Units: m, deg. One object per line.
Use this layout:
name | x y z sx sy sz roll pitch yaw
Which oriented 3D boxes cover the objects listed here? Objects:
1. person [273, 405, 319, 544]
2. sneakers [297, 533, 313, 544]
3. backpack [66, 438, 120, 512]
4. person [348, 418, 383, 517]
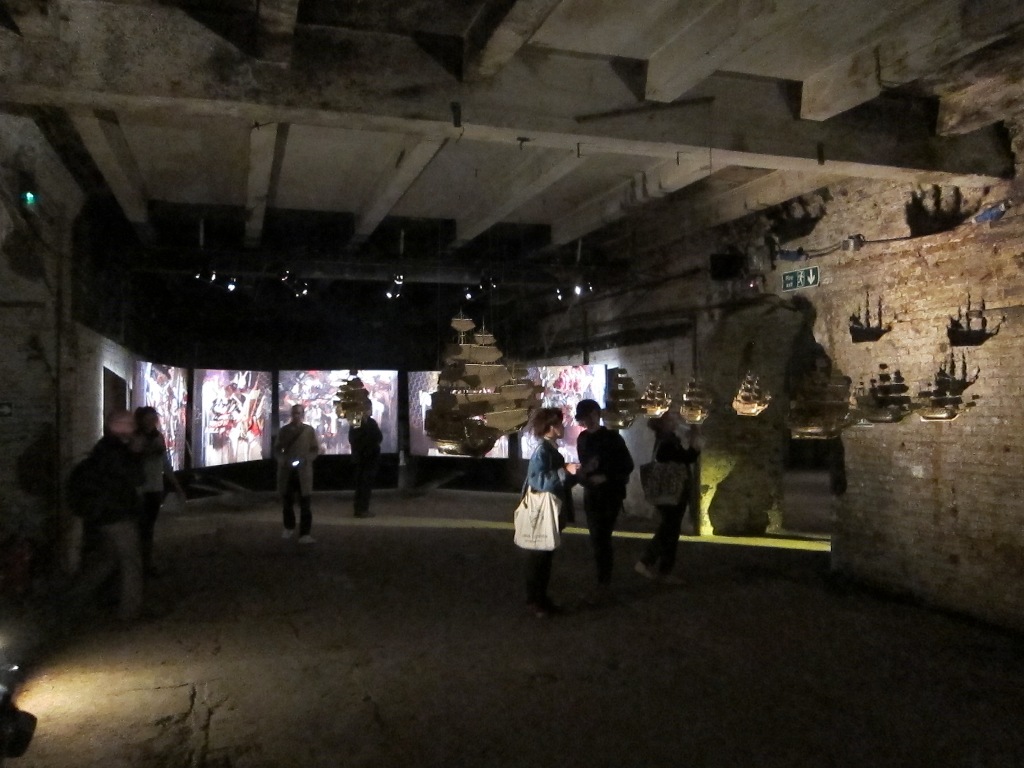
person | -3.163 1.287 11.671 0.492 2.005 0.740 -5 7 -37
sneakers | -2.997 2.258 11.605 0.184 0.083 0.105 -2 0 8
backpack | -4.188 0.949 7.936 0.203 0.668 0.479 8 -5 -25
person | -2.508 1.404 13.711 0.494 1.872 1.040 -1 6 -11
